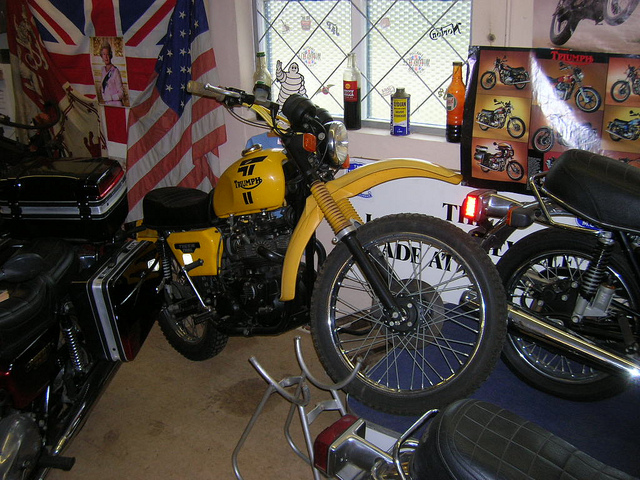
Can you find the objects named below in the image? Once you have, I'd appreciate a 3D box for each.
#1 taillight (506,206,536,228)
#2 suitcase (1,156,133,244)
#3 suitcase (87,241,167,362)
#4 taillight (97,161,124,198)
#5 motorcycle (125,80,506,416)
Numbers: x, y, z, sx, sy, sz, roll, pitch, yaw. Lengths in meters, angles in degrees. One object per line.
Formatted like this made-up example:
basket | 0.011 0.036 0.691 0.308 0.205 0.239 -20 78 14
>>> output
taillight | 0.891 -0.099 2.190 0.134 0.135 0.080 4 8 30
suitcase | -1.351 -0.263 2.734 0.571 0.410 0.465 2 24 11
suitcase | -1.041 0.299 2.625 0.161 0.502 0.548 1 39 8
taillight | -1.136 -0.312 2.678 0.033 0.051 0.197 9 58 27
motorcycle | 0.057 0.056 2.704 1.959 1.697 0.928 13 19 30
